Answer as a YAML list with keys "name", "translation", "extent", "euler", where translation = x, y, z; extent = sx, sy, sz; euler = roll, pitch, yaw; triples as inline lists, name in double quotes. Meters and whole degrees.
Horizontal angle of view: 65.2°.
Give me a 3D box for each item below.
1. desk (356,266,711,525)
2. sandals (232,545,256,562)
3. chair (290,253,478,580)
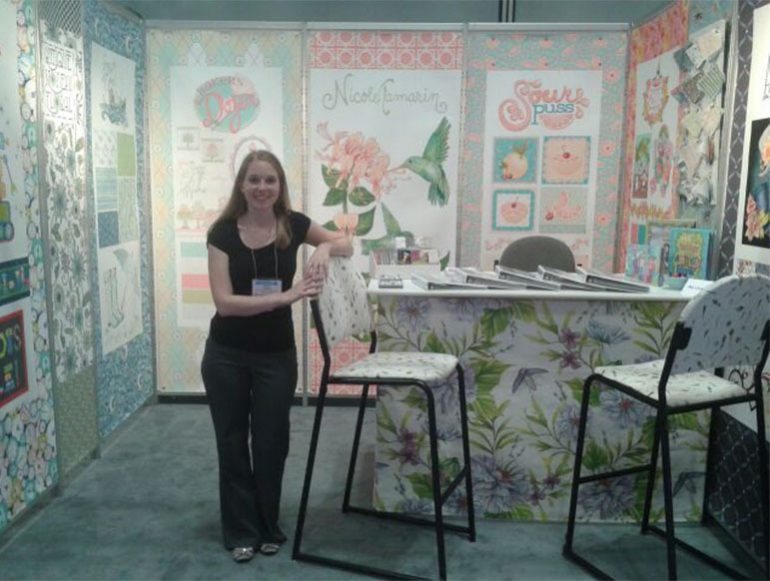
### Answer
- name: "desk"
  translation: [0.836, 0.565, 3.670]
  extent: [1.713, 1.301, 1.002]
  euler: [0, 4, 1]
- name: "sandals"
  translation: [-0.687, 1.281, 2.926]
  extent: [0.104, 0.049, 0.069]
  euler: [0, 10, -8]
- name: "chair"
  translation: [0.008, 0.568, 3.057]
  extent: [0.922, 1.462, 0.922]
  euler: [7, 11, 28]
